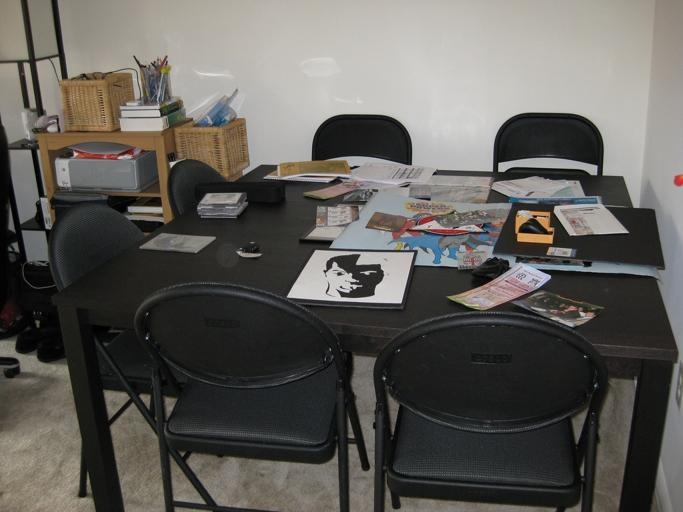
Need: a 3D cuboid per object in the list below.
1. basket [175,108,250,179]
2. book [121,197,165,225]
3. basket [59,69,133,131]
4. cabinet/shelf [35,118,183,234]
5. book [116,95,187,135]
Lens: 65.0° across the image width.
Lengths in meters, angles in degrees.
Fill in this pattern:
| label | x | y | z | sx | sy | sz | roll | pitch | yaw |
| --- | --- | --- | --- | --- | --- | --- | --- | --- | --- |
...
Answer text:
| label | x | y | z | sx | sy | sz | roll | pitch | yaw |
| --- | --- | --- | --- | --- | --- | --- | --- | --- | --- |
| basket | -0.740 | -0.629 | 3.040 | 0.399 | 0.255 | 0.403 | 13 | 25 | 31 |
| book | -1.083 | -0.242 | 2.918 | 0.180 | 0.043 | 0.174 | 1 | 25 | -4 |
| basket | -1.340 | -0.857 | 2.953 | 0.249 | 0.262 | 0.353 | 2 | 24 | 1 |
| cabinet/shelf | -1.159 | -0.430 | 2.689 | 0.648 | 0.612 | 0.270 | 0 | 21 | -2 |
| book | -0.999 | -0.765 | 2.885 | 0.373 | 0.157 | 0.241 | -14 | 23 | -31 |
